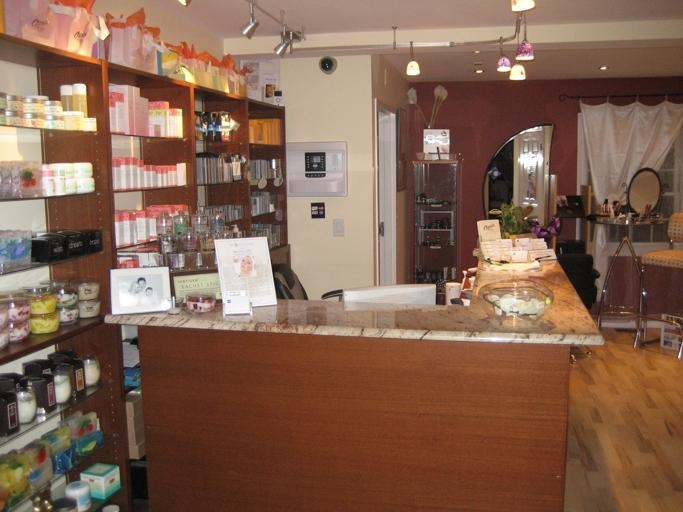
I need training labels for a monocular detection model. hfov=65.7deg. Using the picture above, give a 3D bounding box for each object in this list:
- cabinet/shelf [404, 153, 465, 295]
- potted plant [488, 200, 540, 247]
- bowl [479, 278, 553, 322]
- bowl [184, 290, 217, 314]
[{"bbox_3d":[1.287,-0.490,7.315,0.711,1.840,1.247,-1,10,8],"label":"cabinet/shelf"},{"bbox_3d":[1.565,-0.314,4.783,0.383,0.308,0.671,2,12,20],"label":"potted plant"},{"bbox_3d":[0.925,0.208,2.744,0.312,0.138,0.439,3,12,24],"label":"bowl"},{"bbox_3d":[-0.770,0.246,2.876,0.125,0.073,0.117,0,3,0],"label":"bowl"}]
